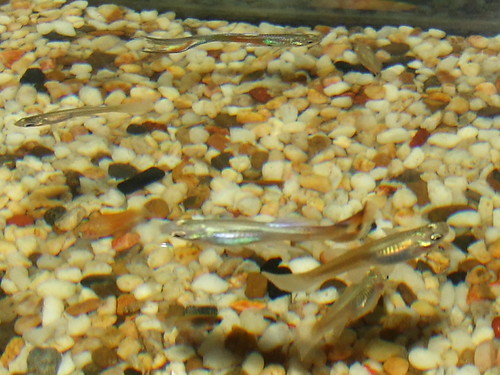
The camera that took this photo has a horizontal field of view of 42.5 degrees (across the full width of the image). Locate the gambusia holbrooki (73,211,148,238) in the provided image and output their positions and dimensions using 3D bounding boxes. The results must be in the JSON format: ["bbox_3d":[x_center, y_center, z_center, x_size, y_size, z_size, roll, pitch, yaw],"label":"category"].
[{"bbox_3d":[-0.661,0.178,3.110,0.391,0.145,0.102,-8,76,-11],"label":"gambusia holbrooki"}]
